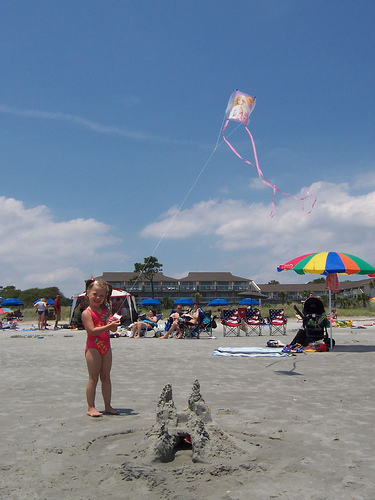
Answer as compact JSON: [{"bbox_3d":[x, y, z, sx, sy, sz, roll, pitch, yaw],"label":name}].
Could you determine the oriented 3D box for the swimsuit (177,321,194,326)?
[{"bbox_3d":[-0.074,2.820,17.066,0.650,0.166,0.130,-4,-7,28],"label":"swimsuit"}]

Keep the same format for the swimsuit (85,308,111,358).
[{"bbox_3d":[-1.015,0.927,5.068,0.270,0.532,0.254,-1,-4,-30],"label":"swimsuit"}]

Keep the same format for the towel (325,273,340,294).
[{"bbox_3d":[3.900,0.857,11.963,0.308,0.516,1.271,-3,-6,17],"label":"towel"}]

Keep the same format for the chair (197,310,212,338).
[{"bbox_3d":[0.672,2.859,17.431,0.568,1.040,1.282,-1,-6,1],"label":"chair"}]

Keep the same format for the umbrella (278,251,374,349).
[{"bbox_3d":[4.078,1.384,12.038,1.991,2.650,2.152,2,-7,-23],"label":"umbrella"}]

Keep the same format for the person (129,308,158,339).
[{"bbox_3d":[-1.768,2.963,18.139,0.765,1.059,1.911,-3,-6,16],"label":"person"}]

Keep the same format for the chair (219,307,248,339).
[{"bbox_3d":[1.797,2.969,17.982,0.963,1.016,0.972,0,-4,29],"label":"chair"}]

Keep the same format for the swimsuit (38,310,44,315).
[{"bbox_3d":[-7.287,3.103,22.088,0.282,0.192,0.261,1,-6,7],"label":"swimsuit"}]

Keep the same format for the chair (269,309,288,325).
[{"bbox_3d":[3.684,2.704,18.014,0.774,0.677,0.659,-2,-13,9],"label":"chair"}]
